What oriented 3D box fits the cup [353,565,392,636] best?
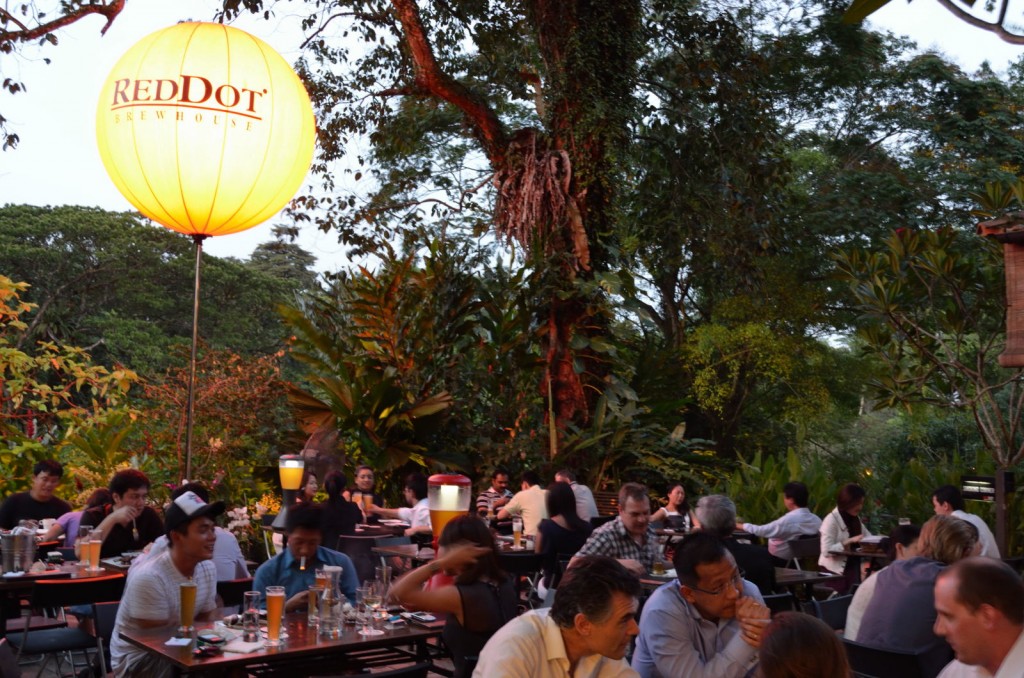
[{"bbox_3d":[-0.928,1.762,5.124,0.263,0.414,0.249,0,1,0],"label":"cup"}]

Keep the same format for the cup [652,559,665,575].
[{"bbox_3d":[1.268,1.983,6.730,0.094,0.086,0.084,-4,-9,42],"label":"cup"}]

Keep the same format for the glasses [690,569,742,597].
[{"bbox_3d":[1.147,1.326,4.202,0.310,0.113,0.136,8,-14,-35],"label":"glasses"}]

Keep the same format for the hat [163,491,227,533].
[{"bbox_3d":[-2.013,1.086,4.942,0.325,0.180,0.197,-16,2,1],"label":"hat"}]

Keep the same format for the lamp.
[{"bbox_3d":[-2.692,-1.644,6.880,1.802,2.278,0.807,4,-12,-20],"label":"lamp"}]
